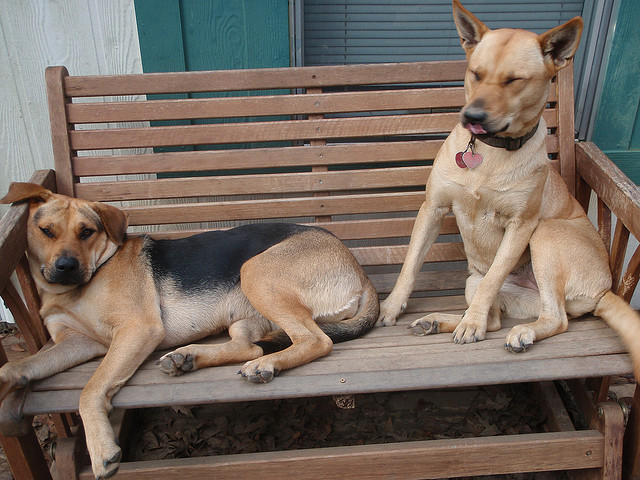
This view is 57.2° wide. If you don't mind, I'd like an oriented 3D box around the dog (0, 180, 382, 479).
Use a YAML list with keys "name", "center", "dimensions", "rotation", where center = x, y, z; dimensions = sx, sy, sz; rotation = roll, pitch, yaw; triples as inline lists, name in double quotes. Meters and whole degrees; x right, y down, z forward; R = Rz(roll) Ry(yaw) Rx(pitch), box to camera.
- name: "dog"
  center: [-0.428, 0.283, 3.639]
  dimensions: [2.406, 1.173, 1.377]
  rotation: [-12, 2, -29]

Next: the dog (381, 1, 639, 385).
- name: "dog"
  center: [1.097, -0.313, 3.096]
  dimensions: [1.214, 1.700, 1.013]
  rotation: [15, 33, 27]
